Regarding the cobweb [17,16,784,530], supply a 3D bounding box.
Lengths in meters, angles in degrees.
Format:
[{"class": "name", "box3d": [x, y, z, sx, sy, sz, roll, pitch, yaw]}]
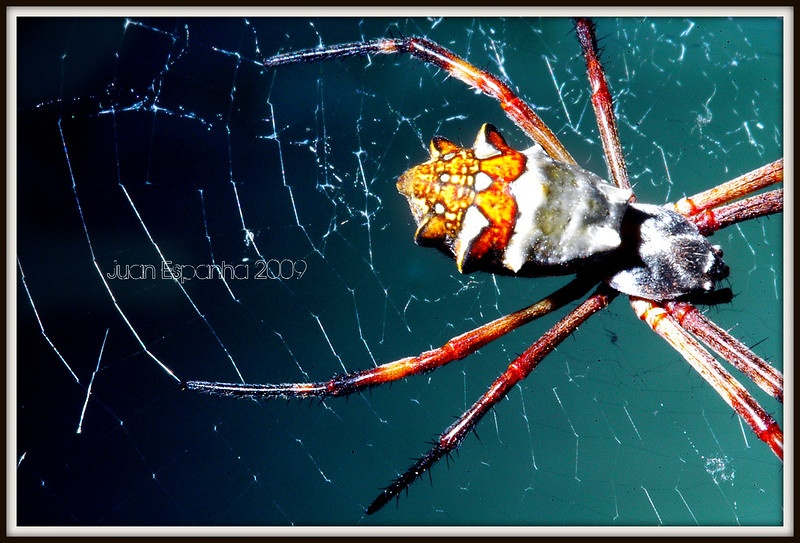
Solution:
[{"class": "cobweb", "box3d": [-0.723, -0.013, 3.977, 3.438, 2.377, 0.805, 0, -17, 2]}]
